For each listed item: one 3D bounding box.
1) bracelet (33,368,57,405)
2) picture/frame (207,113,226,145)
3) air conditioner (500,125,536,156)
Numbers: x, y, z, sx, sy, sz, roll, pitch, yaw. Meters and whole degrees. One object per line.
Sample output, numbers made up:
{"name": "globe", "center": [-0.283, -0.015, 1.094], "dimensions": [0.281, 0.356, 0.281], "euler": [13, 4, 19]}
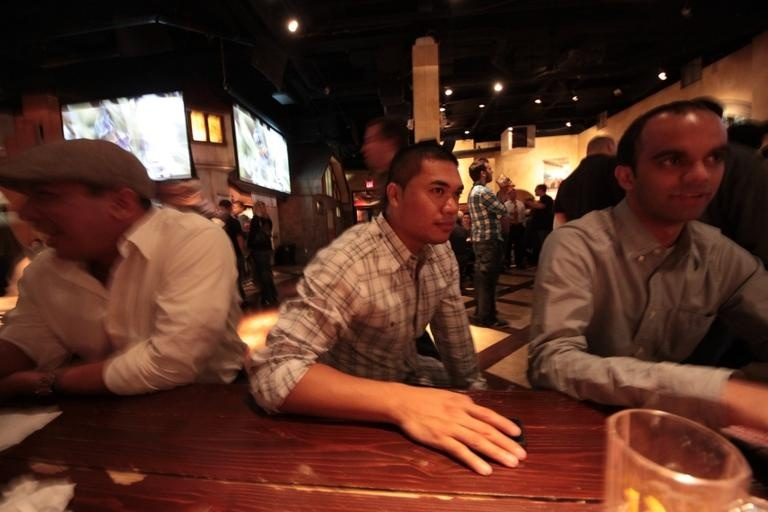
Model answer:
{"name": "bracelet", "center": [-1.811, 0.699, 2.734], "dimensions": [0.102, 0.149, 0.047], "euler": [13, 0, -14]}
{"name": "picture/frame", "center": [-3.100, -2.360, 9.425], "dimensions": [0.092, 0.590, 0.584], "euler": [-4, 1, 22]}
{"name": "air conditioner", "center": [3.212, -2.755, 12.327], "dimensions": [0.751, 0.417, 0.716], "euler": [-1, -5, -2]}
